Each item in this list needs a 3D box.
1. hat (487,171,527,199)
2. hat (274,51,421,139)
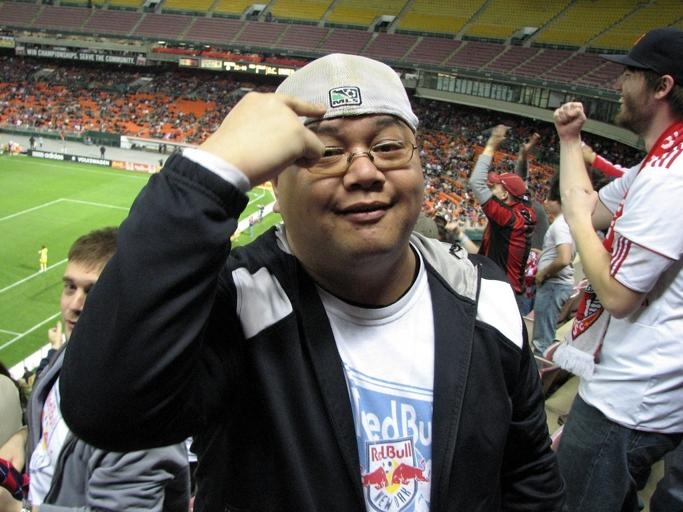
[{"bbox_3d":[1.999,-0.859,6.818,0.473,0.253,0.308,33,32,19],"label":"hat"},{"bbox_3d":[0.042,-0.665,2.205,0.319,0.253,0.431,15,24,42],"label":"hat"}]
